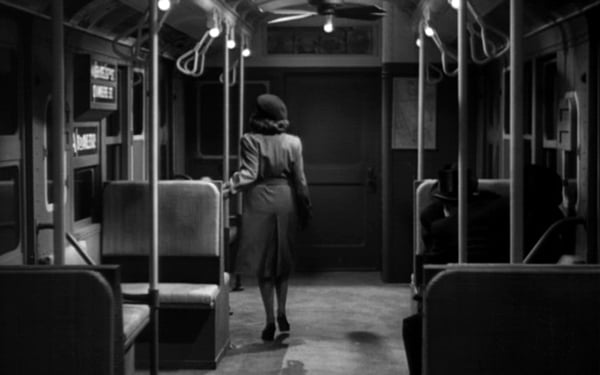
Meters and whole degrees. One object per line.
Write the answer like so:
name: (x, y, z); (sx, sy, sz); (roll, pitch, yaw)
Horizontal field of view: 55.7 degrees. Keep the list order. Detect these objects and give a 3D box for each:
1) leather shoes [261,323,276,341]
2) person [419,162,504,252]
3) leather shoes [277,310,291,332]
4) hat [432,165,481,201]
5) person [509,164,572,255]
leather shoes: (-0.337, 1.505, 5.999); (0.147, 0.197, 0.158); (-1, 6, -8)
person: (1.386, 0.207, 4.803); (0.592, 0.744, 0.835); (-1, 6, 4)
leather shoes: (-0.181, 1.466, 6.139); (0.138, 0.228, 0.227); (0, -13, -1)
hat: (1.290, -0.027, 4.584); (0.364, 0.318, 0.281); (-8, 18, -7)
person: (2.136, 0.215, 4.824); (0.414, 0.779, 0.766); (1, 6, 13)
